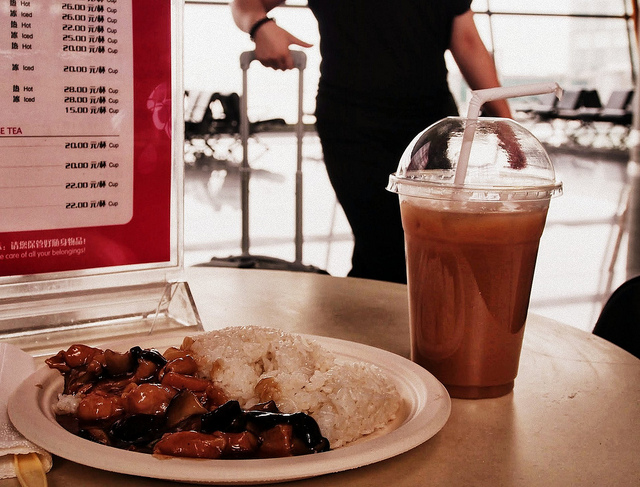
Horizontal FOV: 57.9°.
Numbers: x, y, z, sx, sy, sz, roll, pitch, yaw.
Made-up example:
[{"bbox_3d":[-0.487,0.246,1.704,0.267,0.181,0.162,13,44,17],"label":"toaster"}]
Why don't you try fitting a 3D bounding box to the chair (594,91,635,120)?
[{"bbox_3d":[5.031,-2.327,9.815,0.508,0.462,0.506,14,23,39],"label":"chair"}]
